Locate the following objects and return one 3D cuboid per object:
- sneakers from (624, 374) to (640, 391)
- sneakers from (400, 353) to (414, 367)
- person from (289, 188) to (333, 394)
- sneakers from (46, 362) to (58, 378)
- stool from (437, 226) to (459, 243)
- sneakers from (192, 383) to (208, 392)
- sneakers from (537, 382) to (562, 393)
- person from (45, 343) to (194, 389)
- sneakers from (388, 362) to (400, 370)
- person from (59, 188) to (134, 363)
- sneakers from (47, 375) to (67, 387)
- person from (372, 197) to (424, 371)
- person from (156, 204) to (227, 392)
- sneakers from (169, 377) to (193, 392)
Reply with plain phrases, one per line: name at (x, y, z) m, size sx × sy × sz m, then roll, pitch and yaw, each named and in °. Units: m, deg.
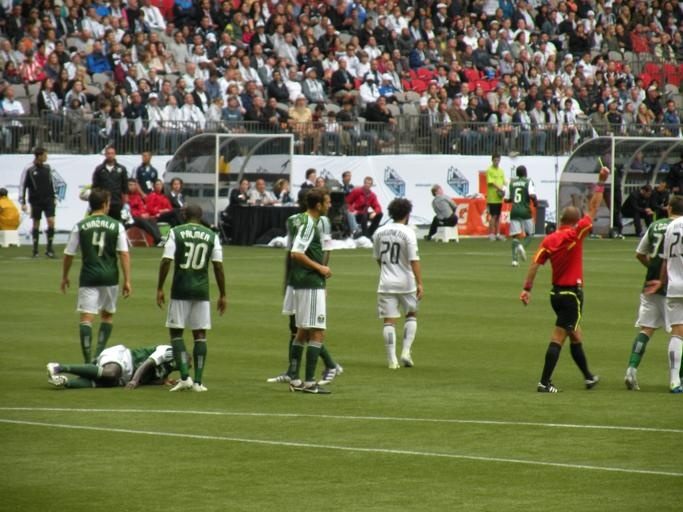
sneakers at (4.588, 1.982, 23.998) m, size 0.120 × 0.195 × 0.384 m, roll -10°, pitch -37°, yaw 24°
sneakers at (1.083, 1.748, 25.475) m, size 0.114 × 0.235 × 0.316 m, roll 0°, pitch 9°, yaw 12°
person at (-0.507, 0.533, 23.807) m, size 0.633 × 3.211 × 0.512 m, roll 0°, pitch 4°, yaw -3°
sneakers at (-4.480, 1.740, 23.412) m, size 0.140 × 0.195 × 0.191 m, roll -1°, pitch 4°, yaw -18°
stool at (3.064, -0.702, 44.142) m, size 0.673 × 0.465 × 0.628 m, roll 1°, pitch 4°, yaw 6°
sneakers at (-2.224, 2.044, 23.768) m, size 0.100 × 0.109 × 0.244 m, roll 1°, pitch 2°, yaw 33°
sneakers at (3.273, 2.049, 23.888) m, size 0.360 × 0.182 × 0.136 m, roll 2°, pitch 7°, yaw -9°
person at (-3.607, 1.724, 23.953) m, size 1.642 × 0.547 × 0.964 m, roll -2°, pitch -3°, yaw -18°
sneakers at (0.882, 1.825, 25.408) m, size 0.143 × 0.117 × 0.110 m, roll -3°, pitch 5°, yaw 0°
person at (-4.020, 0.299, 24.784) m, size 1.088 × 2.857 × 1.558 m, roll 0°, pitch 4°, yaw -11°
sneakers at (-4.408, 1.914, 23.509) m, size 0.276 × 0.207 × 0.196 m, roll 0°, pitch 4°, yaw -13°
person at (0.930, 0.439, 25.449) m, size 0.790 × 2.834 × 0.573 m, roll 1°, pitch 4°, yaw 2°
person at (-2.370, 0.644, 23.755) m, size 1.034 × 2.924 × 0.498 m, roll 0°, pitch 4°, yaw -7°
sneakers at (-2.573, 2.002, 23.800) m, size 0.446 × 0.207 × 0.171 m, roll -19°, pitch -11°, yaw 25°
